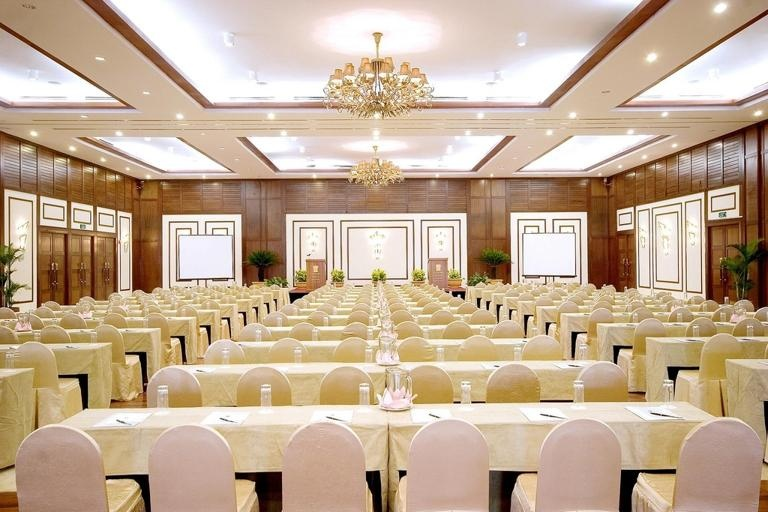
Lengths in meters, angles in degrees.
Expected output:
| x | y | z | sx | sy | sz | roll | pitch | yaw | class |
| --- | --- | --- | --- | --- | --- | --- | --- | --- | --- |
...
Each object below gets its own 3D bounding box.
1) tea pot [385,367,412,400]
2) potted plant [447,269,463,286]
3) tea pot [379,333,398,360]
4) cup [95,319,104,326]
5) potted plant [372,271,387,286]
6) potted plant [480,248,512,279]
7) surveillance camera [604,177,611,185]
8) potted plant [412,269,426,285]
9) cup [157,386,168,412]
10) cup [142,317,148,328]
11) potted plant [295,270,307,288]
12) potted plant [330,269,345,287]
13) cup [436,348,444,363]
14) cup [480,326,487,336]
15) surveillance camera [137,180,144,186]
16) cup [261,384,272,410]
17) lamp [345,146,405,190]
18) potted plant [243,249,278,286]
| x | y | z | sx | sy | sz | roll | pitch | yaw | class |
| --- | --- | --- | --- | --- | --- | --- | --- | --- | --- |
| 0.126 | 1.117 | 4.713 | 0.289 | 0.309 | 0.181 | 2 | -3 | 2 | tea pot |
| 2.417 | 0.705 | 17.916 | 0.506 | 0.493 | 0.500 | 2 | -13 | 1 | potted plant |
| 0.041 | 0.978 | 5.663 | 0.195 | 0.324 | 0.250 | 0 | -4 | -1 | tea pot |
| -4.661 | 1.076 | 8.557 | 0.100 | 0.104 | 0.096 | 0 | 22 | 0 | cup |
| -0.202 | 0.741 | 18.167 | 0.505 | 0.568 | 0.473 | 1 | -7 | -7 | potted plant |
| 4.115 | 0.268 | 19.319 | 1.064 | 1.091 | 1.106 | 1 | -6 | 8 | potted plant |
| 8.322 | -2.788 | 19.524 | 0.075 | 0.262 | 0.250 | 2 | -4 | -26 | surveillance camera |
| 1.180 | 0.702 | 18.052 | 0.443 | 0.478 | 0.446 | 0 | -8 | -1 | potted plant |
| -1.961 | 1.239 | 4.613 | 0.065 | 0.196 | 0.075 | 1 | -3 | -11 | cup |
| -3.804 | 1.041 | 8.314 | 0.099 | 0.192 | 0.186 | 1 | -3 | -15 | cup |
| -2.900 | 0.782 | 18.308 | 0.492 | 0.519 | 0.507 | 1 | -9 | -2 | potted plant |
| -1.605 | 0.755 | 18.102 | 0.476 | 0.555 | 0.487 | -1 | -9 | -2 | potted plant |
| 0.632 | 1.111 | 5.979 | 0.067 | 0.164 | 0.089 | 0 | -3 | -2 | cup |
| 1.437 | 1.084 | 7.646 | 0.096 | 0.101 | 0.181 | -1 | 3 | 3 | cup |
| -9.031 | -2.703 | 19.298 | 0.237 | 0.231 | 0.058 | 1 | 1 | -27 | surveillance camera |
| -1.026 | 1.206 | 4.522 | 0.073 | 0.201 | 0.116 | 1 | -4 | -22 | cup |
| -0.025 | -2.381 | 14.935 | 1.463 | 1.048 | 1.491 | 6 | 9 | 40 | lamp |
| -4.541 | 0.332 | 19.285 | 1.084 | 1.119 | 1.108 | -1 | 1 | -9 | potted plant |
